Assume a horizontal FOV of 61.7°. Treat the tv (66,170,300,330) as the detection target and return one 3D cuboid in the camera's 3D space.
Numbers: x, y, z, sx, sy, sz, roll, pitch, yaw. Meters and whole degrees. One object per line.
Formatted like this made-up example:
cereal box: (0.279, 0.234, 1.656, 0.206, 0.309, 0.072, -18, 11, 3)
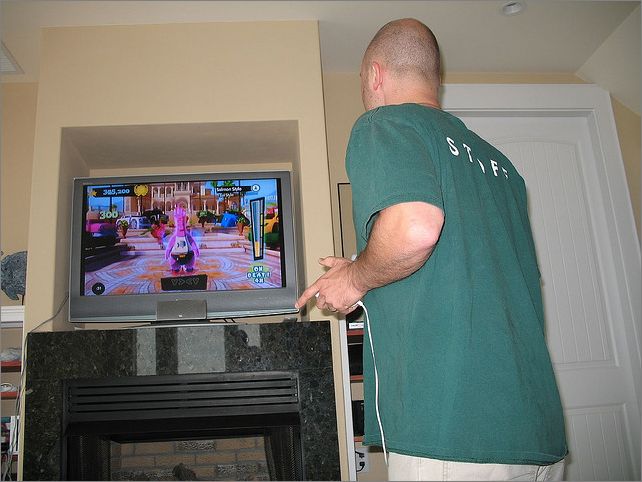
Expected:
tv: (-0.748, 0.059, 2.830, 0.893, 0.582, 0.220, -1, -9, -4)
